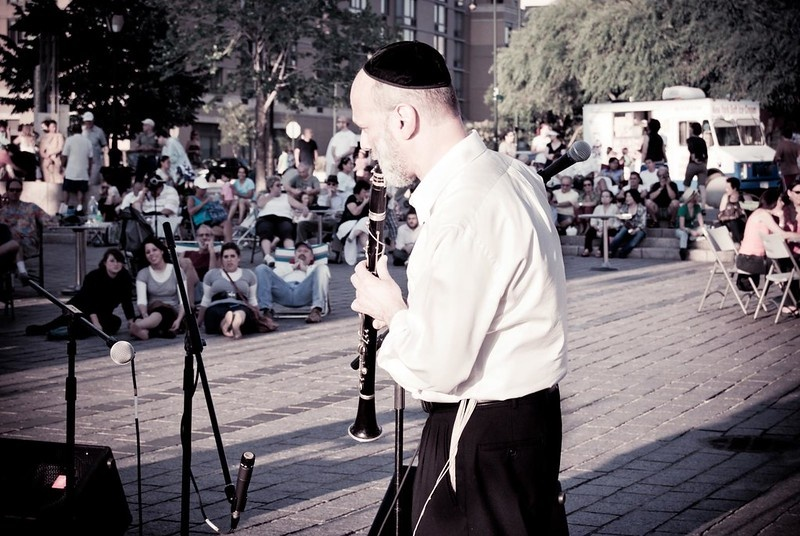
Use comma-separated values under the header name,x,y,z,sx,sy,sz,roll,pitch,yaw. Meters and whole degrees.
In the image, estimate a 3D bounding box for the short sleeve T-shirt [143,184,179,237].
name,x,y,z,sx,sy,sz,roll,pitch,yaw
short sleeve T-shirt,-5.201,-1.177,29.501,0.905,1.264,0.716,-2,-3,28

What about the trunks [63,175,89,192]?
name,x,y,z,sx,sy,sz,roll,pitch,yaw
trunks,-8.114,-2.230,34.493,0.309,0.580,0.568,9,8,42

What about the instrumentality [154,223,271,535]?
name,x,y,z,sx,sy,sz,roll,pitch,yaw
instrumentality,-2.695,1.455,19.080,0.978,4.267,1.956,-2,8,-10

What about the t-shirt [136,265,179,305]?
name,x,y,z,sx,sy,sz,roll,pitch,yaw
t-shirt,-4.303,0.316,24.490,0.649,0.691,0.372,-2,-1,-21

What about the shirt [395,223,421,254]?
name,x,y,z,sx,sy,sz,roll,pitch,yaw
shirt,0.166,-0.682,30.734,0.690,0.918,0.523,1,3,-2

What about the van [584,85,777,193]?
name,x,y,z,sx,sy,sz,roll,pitch,yaw
van,8.770,-3.353,40.911,3.019,3.620,5.467,-2,0,-33

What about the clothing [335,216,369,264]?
name,x,y,z,sx,sy,sz,roll,pitch,yaw
clothing,-1.010,-0.494,30.840,0.443,1.259,0.941,7,3,18

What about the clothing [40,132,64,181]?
name,x,y,z,sx,sy,sz,roll,pitch,yaw
clothing,-8.885,-2.951,35.058,0.553,1.557,0.533,-1,5,7

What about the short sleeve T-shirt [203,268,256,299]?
name,x,y,z,sx,sy,sz,roll,pitch,yaw
short sleeve T-shirt,-3.113,0.486,25.164,0.935,0.889,0.512,-1,-2,-18

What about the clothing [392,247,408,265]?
name,x,y,z,sx,sy,sz,roll,pitch,yaw
clothing,0.078,-0.266,30.955,0.284,0.387,0.143,3,6,30

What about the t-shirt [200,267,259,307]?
name,x,y,z,sx,sy,sz,roll,pitch,yaw
t-shirt,-3.110,0.368,25.150,1.133,1.158,0.611,1,-8,-22

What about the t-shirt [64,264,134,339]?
name,x,y,z,sx,sy,sz,roll,pitch,yaw
t-shirt,-5.163,0.606,23.820,0.743,1.586,0.877,10,-15,1

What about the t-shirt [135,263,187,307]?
name,x,y,z,sx,sy,sz,roll,pitch,yaw
t-shirt,-4.302,0.386,24.995,0.874,0.924,0.498,-4,7,-11

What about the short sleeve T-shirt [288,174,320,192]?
name,x,y,z,sx,sy,sz,roll,pitch,yaw
short sleeve T-shirt,-2.212,-2.075,33.407,0.769,0.471,0.704,2,4,28
